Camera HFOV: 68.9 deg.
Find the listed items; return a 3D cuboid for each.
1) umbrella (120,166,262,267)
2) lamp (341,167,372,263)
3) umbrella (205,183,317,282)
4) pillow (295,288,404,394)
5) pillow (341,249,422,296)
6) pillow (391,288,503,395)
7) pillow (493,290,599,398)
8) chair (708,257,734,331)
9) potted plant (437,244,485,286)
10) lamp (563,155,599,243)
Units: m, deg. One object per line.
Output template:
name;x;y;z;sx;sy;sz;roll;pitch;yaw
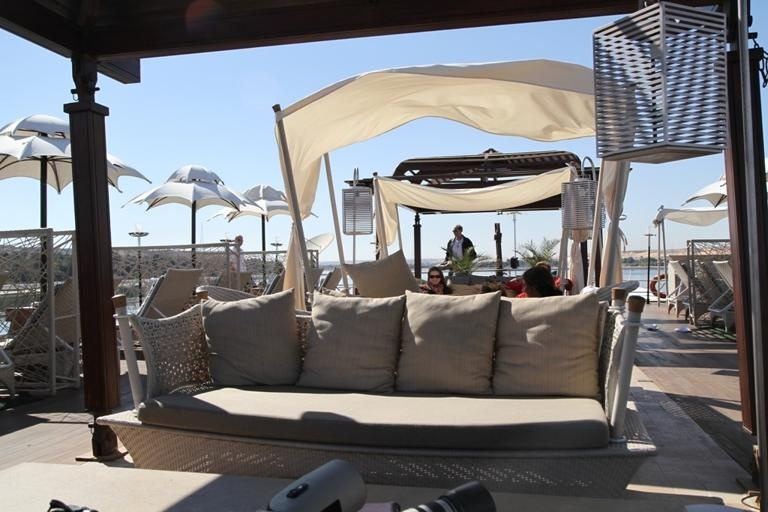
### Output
umbrella;-3.576;-0.795;10.060;1.803;1.491;1.859;1;0;-2
lamp;-0.380;-0.580;7.584;0.435;1.268;0.429;3;22;2
umbrella;-2.833;-0.743;13.092;1.673;1.741;1.899;-9;3;-7
pillow;-0.224;0.563;3.759;0.697;0.627;0.374;0;1;14
pillow;-0.010;0.204;4.714;0.620;0.188;0.655;-8;-28;24
pillow;0.402;0.567;3.595;0.668;0.684;0.249;-2;-7;18
pillow;0.993;0.557;3.400;0.548;0.554;0.200;2;-12;12
chair;4.757;0.563;7.922;0.321;0.725;1.501;-4;0;30
potted plant;1.234;0.157;9.519;0.668;0.492;0.688;0;1;39
lamp;2.283;-0.681;6.477;0.337;0.878;0.355;0;4;-22
